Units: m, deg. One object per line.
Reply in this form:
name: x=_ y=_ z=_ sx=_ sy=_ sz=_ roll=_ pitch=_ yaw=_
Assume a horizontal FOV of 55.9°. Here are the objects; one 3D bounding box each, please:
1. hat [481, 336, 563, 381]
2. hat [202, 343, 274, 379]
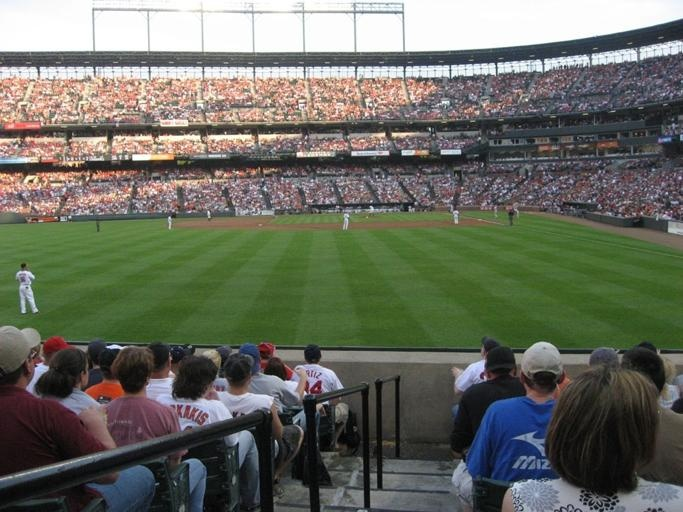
hat: x=1.529 y=0.855 z=5.175 sx=0.415 sy=0.249 sz=0.561 roll=1 pitch=2 yaw=0
hat: x=-1.158 y=1.250 z=7.819 sx=0.580 sy=0.264 sz=0.643 roll=0 pitch=-2 yaw=-9
